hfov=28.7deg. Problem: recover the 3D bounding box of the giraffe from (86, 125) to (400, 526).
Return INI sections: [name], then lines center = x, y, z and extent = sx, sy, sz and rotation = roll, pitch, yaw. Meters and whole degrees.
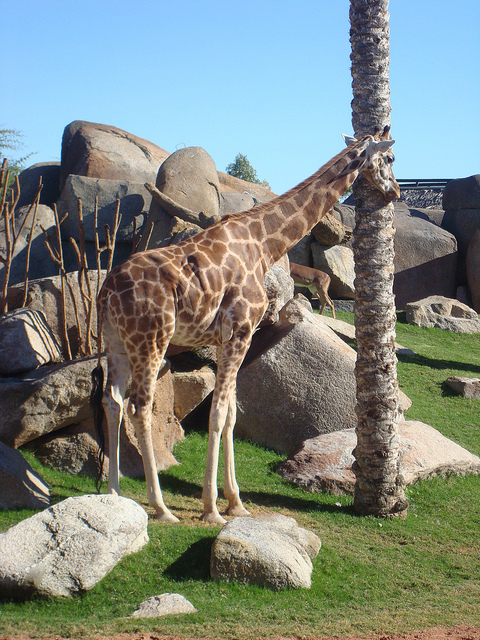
[giraffe]
center = -0.115, 0.030, 8.349
extent = 2.201, 3.226, 0.962
rotation = 1, 4, -36
